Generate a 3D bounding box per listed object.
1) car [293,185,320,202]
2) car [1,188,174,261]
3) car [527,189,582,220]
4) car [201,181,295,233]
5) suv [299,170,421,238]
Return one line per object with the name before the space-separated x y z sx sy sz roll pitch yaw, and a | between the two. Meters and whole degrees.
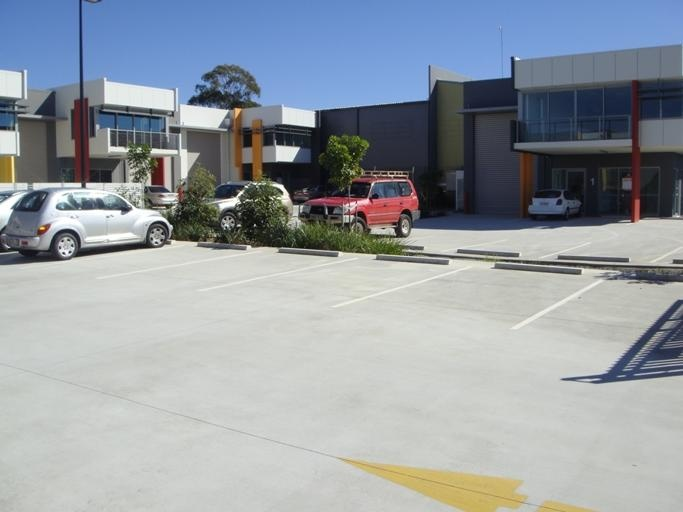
car | -2.414 -4.918 44.017 2.346 0.825 1.417 -13 14 -38
car | -7.527 -1.053 16.509 1.947 1.732 4.106 6 10 37
car | 11.953 -2.953 31.131 1.552 1.197 2.523 1 8 32
car | -4.114 -2.022 22.470 1.777 1.637 3.224 1 2 42
suv | 0.921 -1.834 20.511 4.415 2.285 1.582 -5 8 -44
